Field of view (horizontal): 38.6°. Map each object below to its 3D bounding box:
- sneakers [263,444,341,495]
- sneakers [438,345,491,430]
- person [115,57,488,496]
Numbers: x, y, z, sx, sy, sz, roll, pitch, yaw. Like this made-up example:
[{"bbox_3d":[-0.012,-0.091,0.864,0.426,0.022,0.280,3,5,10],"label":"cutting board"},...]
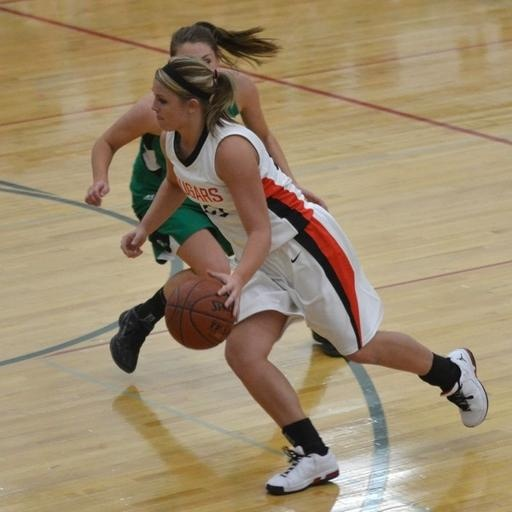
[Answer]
[{"bbox_3d":[0.120,0.595,2.077,0.257,0.102,0.086,-5,7,-39],"label":"sneakers"},{"bbox_3d":[0.660,0.433,2.395,0.148,0.251,0.114,6,-26,-31],"label":"sneakers"},{"bbox_3d":[0.130,0.034,2.156,0.703,1.310,0.502,-21,-2,-5],"label":"person"}]
